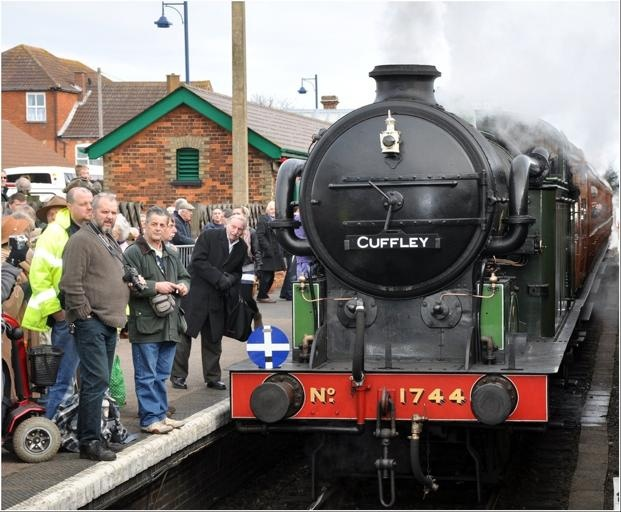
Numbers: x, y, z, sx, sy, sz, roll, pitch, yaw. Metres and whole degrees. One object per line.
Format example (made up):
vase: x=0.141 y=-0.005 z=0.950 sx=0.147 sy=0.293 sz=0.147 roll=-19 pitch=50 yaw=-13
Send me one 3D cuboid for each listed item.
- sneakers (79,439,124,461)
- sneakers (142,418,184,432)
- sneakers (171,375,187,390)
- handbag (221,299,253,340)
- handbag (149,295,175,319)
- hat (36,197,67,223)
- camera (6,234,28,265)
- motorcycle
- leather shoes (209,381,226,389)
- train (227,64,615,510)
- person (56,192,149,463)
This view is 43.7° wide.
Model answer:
sneakers: x=-1.481 y=1.371 z=5.522 sx=0.383 sy=0.155 sz=0.143 roll=-5 pitch=-3 yaw=33
sneakers: x=-1.170 y=1.343 z=6.106 sx=0.183 sy=0.069 sz=0.152 roll=-15 pitch=-5 yaw=32
sneakers: x=-1.326 y=1.285 z=7.882 sx=0.073 sy=0.089 sz=0.214 roll=1 pitch=-4 yaw=-29
handbag: x=-0.737 y=0.610 z=8.096 sx=0.218 sy=0.526 sz=0.326 roll=12 pitch=8 yaw=22
handbag: x=-1.222 y=0.430 z=6.425 sx=0.145 sy=0.202 sz=0.198 roll=-13 pitch=-6 yaw=-18
hat: x=-2.465 y=-0.450 z=7.500 sx=0.314 sy=0.139 sz=0.357 roll=-1 pitch=-12 yaw=-5
camera: x=-2.374 y=-0.050 z=6.320 sx=0.122 sy=0.218 sz=0.197 roll=2 pitch=23 yaw=-5
motorcycle: x=-2.096 y=0.953 z=5.836 sx=0.422 sy=1.024 sz=0.817 roll=-1 pitch=1 yaw=-18
leather shoes: x=-0.929 y=1.303 z=7.866 sx=0.203 sy=0.090 sz=0.075 roll=-5 pitch=-5 yaw=32
train: x=1.264 y=0.219 z=6.645 sx=2.069 sy=3.607 sz=3.739 roll=1 pitch=1 yaw=45
person: x=-1.548 y=0.484 z=5.680 sx=0.379 sy=1.892 sz=0.552 roll=0 pitch=1 yaw=15
